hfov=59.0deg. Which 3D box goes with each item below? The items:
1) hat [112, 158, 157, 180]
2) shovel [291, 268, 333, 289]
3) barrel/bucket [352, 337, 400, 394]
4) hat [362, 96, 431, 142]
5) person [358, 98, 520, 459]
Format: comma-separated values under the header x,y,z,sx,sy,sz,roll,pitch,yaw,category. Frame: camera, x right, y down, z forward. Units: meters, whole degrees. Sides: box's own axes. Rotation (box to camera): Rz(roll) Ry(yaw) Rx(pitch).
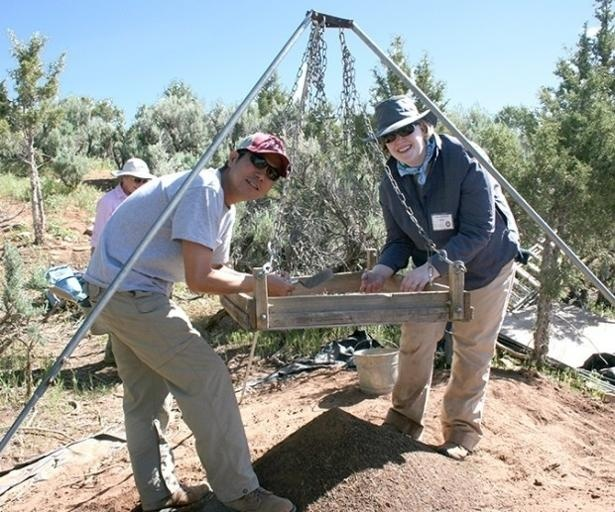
x,y,z,sx,sy,sz,roll,pitch,yaw,category
-1.978,-1.000,6.272,0.435,0.248,0.482,4,0,-8,hat
0.039,0.190,4.725,0.354,0.106,0.081,-14,-23,9,shovel
0.751,1.146,5.790,0.427,0.421,0.486,-6,-5,11,barrel/bucket
0.687,-1.090,4.106,0.334,0.182,0.421,-26,9,26,hat
1.028,0.167,4.236,1.156,2.780,0.888,4,7,15,person
